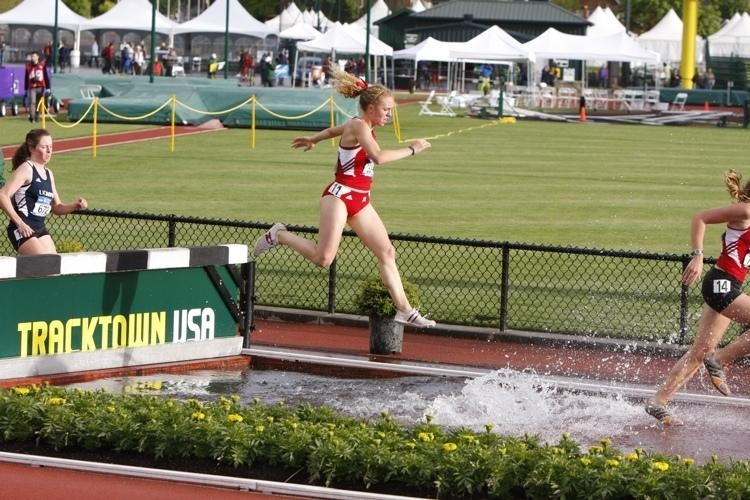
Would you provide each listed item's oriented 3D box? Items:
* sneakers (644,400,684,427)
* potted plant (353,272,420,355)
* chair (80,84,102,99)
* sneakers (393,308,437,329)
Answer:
[{"bbox_3d":[3.257,1.855,13.789,0.238,0.172,0.421,-9,56,-54],"label":"sneakers"},{"bbox_3d":[0.195,0.779,16.284,1.128,1.163,0.945,2,3,23],"label":"potted plant"},{"bbox_3d":[-10.259,-5.717,44.296,0.628,0.547,1.874,-4,16,-20],"label":"chair"},{"bbox_3d":[0.540,0.841,15.333,0.588,0.229,0.207,4,1,7],"label":"sneakers"}]
